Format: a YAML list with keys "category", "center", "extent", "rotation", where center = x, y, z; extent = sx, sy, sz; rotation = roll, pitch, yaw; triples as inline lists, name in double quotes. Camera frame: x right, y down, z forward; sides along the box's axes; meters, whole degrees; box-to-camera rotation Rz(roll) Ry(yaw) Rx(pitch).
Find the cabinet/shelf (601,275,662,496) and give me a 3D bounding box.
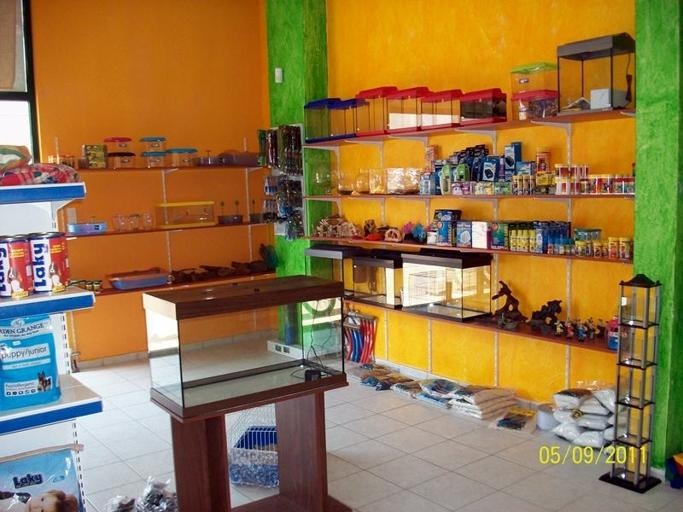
- category: "cabinet/shelf"
  center: [2.171, 0.915, 4.172]
  extent: [0.379, 1.546, 0.422]
  rotation: [5, 13, 37]
